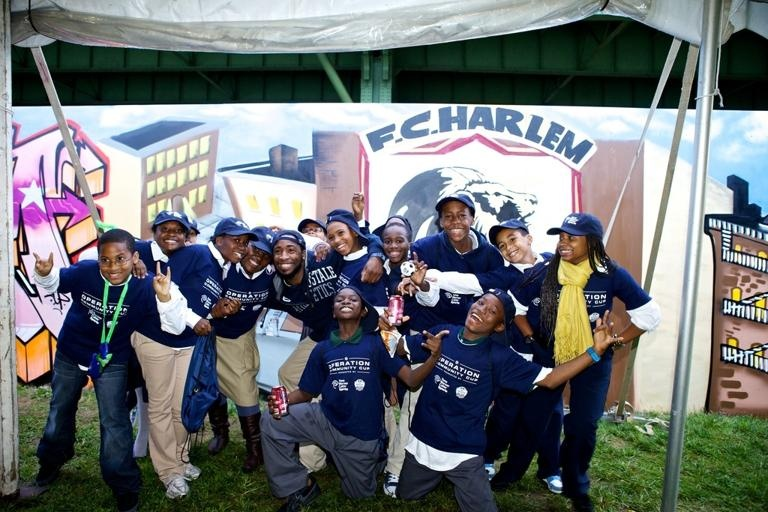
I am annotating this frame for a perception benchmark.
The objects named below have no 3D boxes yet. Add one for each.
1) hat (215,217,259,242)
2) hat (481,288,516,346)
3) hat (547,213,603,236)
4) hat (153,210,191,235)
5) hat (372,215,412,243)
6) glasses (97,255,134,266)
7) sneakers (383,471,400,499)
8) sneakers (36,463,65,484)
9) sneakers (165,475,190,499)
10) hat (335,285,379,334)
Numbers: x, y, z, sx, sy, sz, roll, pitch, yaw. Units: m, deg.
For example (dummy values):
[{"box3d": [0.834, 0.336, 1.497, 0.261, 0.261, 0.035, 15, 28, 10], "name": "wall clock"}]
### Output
[{"box3d": [-1.972, -0.365, 9.039, 0.450, 0.250, 0.334, -12, -20, 28], "name": "hat"}, {"box3d": [1.425, 0.758, 8.339, 0.332, 0.651, 0.412, -12, 16, -42], "name": "hat"}, {"box3d": [2.410, -0.361, 8.341, 0.468, 0.240, 0.351, 3, -1, -12], "name": "hat"}, {"box3d": [-2.839, -0.444, 8.969, 0.405, 0.303, 0.653, 2, -5, -24], "name": "hat"}, {"box3d": [0.202, -0.405, 9.283, 0.343, 0.257, 0.482, 7, 23, 37], "name": "hat"}, {"box3d": [-3.233, 0.090, 8.158, 0.385, 0.241, 0.134, 2, 4, -24], "name": "glasses"}, {"box3d": [0.090, 2.906, 8.584, 0.187, 0.232, 0.458, 3, 4, 2], "name": "sneakers"}, {"box3d": [-4.322, 2.821, 8.746, 0.164, 0.180, 0.440, 5, -8, -4], "name": "sneakers"}, {"box3d": [-2.589, 2.901, 8.478, 0.293, 0.230, 0.169, 2, 4, -20], "name": "sneakers"}, {"box3d": [-0.317, 0.660, 8.492, 0.460, 0.628, 0.320, -17, -4, 14], "name": "hat"}]
